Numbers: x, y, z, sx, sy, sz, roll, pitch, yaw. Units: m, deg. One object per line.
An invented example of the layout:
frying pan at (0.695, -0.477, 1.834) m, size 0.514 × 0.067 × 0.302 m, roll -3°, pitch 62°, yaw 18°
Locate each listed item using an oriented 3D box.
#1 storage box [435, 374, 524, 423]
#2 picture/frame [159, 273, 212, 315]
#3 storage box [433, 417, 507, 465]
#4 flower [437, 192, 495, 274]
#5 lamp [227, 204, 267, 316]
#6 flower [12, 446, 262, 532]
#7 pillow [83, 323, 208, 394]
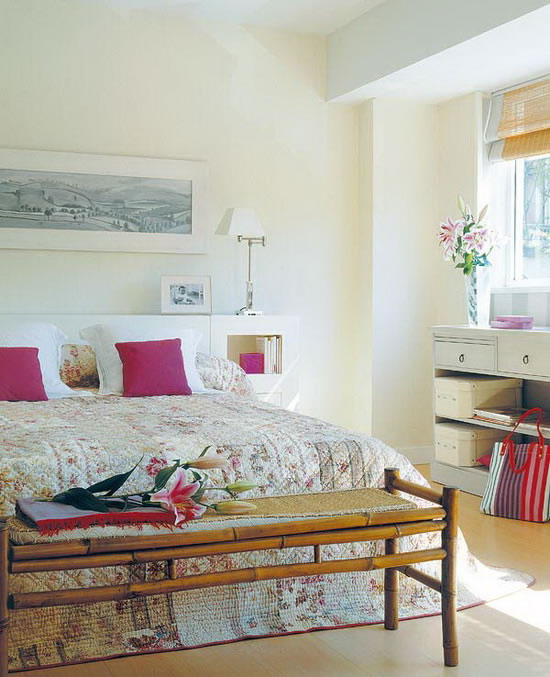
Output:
storage box at (1.169, 0.322, 3.604) m, size 0.304 × 0.155 × 0.351 m, roll 0°, pitch -1°, yaw -21°
picture/frame at (-0.578, -0.271, 3.878) m, size 0.309 × 0.194 × 0.020 m, roll 1°, pitch -7°, yaw -23°
storage box at (1.092, 0.641, 3.669) m, size 0.422 × 0.169 × 0.385 m, roll -1°, pitch -8°, yaw 3°
flower at (1.129, -0.587, 3.636) m, size 0.330 × 0.400 × 0.304 m, roll 7°, pitch -3°, yaw 38°
lamp at (-0.179, -0.462, 3.911) m, size 0.230 × 0.608 × 0.437 m, roll 2°, pitch -1°, yaw -1°
flower at (-0.271, 0.324, 1.220) m, size 0.363 × 0.108 × 0.257 m, roll 4°, pitch -5°, yaw -19°
pillow at (-0.664, 0.067, 3.301) m, size 0.471 × 0.099 × 0.477 m, roll 7°, pitch 18°, yaw 27°
